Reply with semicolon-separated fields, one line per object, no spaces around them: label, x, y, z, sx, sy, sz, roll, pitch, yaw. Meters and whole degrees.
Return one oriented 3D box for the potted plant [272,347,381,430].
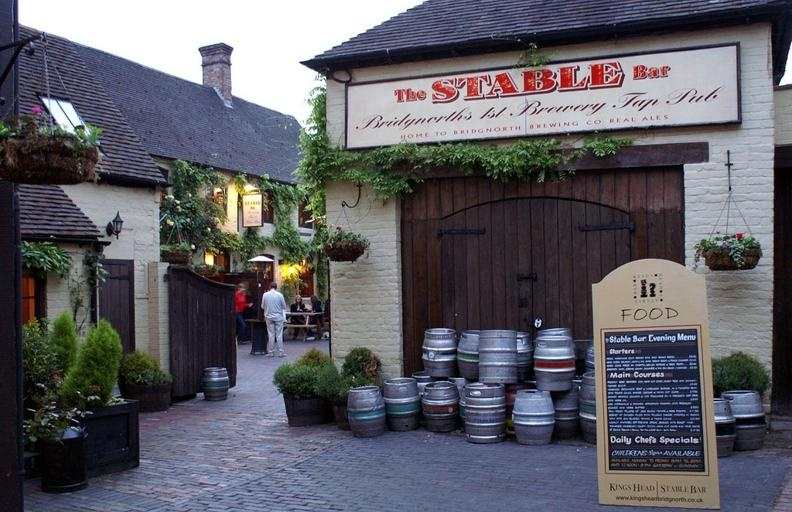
potted plant;-1.093;2.069;12.567;1.414;0.948;1.372;-2;-2;10

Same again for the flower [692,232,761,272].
flower;4.730;-0.049;11.035;0.593;0.365;0.704;-3;-7;30

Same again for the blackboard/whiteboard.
blackboard/whiteboard;3.097;1.684;9.430;1.336;1.761;0.055;-1;-3;-1

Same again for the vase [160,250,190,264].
vase;-5.452;0.042;19.233;0.566;0.214;0.541;-1;-1;4

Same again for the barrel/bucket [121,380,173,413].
barrel/bucket;-4.360;2.467;13.800;0.906;0.498;0.891;0;-1;0

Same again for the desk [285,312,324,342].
desk;-2.789;2.209;24.267;1.383;0.645;0.876;-2;-5;15

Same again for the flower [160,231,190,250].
flower;-6.189;-0.327;21.961;0.763;0.451;0.894;0;-3;0

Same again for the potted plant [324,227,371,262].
potted plant;-0.730;-0.149;12.677;0.634;0.389;0.615;2;0;-20

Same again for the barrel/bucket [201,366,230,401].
barrel/bucket;-3.456;2.453;14.842;0.590;0.555;0.568;-4;-6;-1

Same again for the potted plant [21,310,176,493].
potted plant;-4.475;1.874;11.031;1.431;2.032;2.432;-6;8;-24

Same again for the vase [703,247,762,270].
vase;4.799;0.054;11.106;0.768;0.326;0.310;0;8;20
